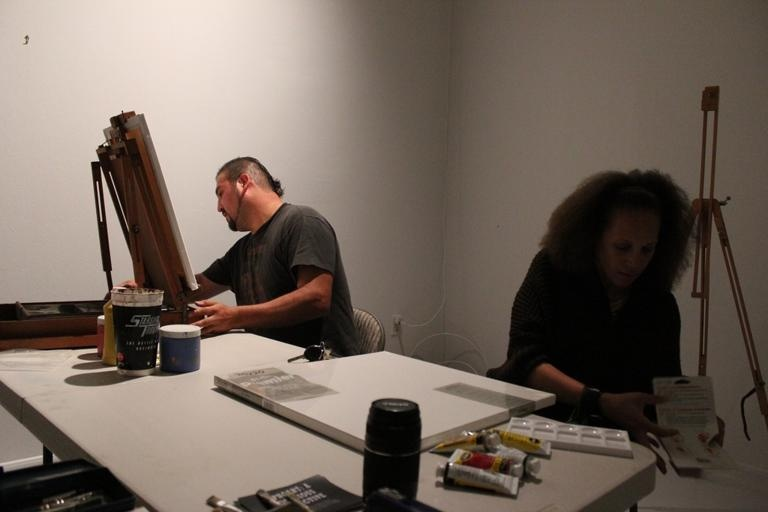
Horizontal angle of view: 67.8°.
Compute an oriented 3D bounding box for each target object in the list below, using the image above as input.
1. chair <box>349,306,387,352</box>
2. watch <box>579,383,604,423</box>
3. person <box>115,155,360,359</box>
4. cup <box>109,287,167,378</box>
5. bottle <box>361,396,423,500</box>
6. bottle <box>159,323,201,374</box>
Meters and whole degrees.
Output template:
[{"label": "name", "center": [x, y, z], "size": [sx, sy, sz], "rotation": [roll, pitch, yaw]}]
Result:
[{"label": "chair", "center": [-0.051, 0.293, 2.320], "size": [0.162, 0.190, 0.153], "rotation": [-3, -11, 12]}, {"label": "watch", "center": [0.692, 0.468, 1.846], "size": [0.071, 0.113, 0.107], "rotation": [-10, -21, 39]}, {"label": "person", "center": [-0.581, 0.102, 2.569], "size": [1.012, 1.037, 0.823], "rotation": [-10, -2, -34]}, {"label": "cup", "center": [-0.676, 0.210, 1.588], "size": [0.155, 0.208, 0.151], "rotation": [1, -3, 0]}, {"label": "bottle", "center": [0.014, 0.362, 1.062], "size": [0.104, 0.184, 0.093], "rotation": [-3, 6, -22]}, {"label": "bottle", "center": [-0.572, 0.261, 1.606], "size": [0.119, 0.107, 0.111], "rotation": [2, 0, -31]}]
